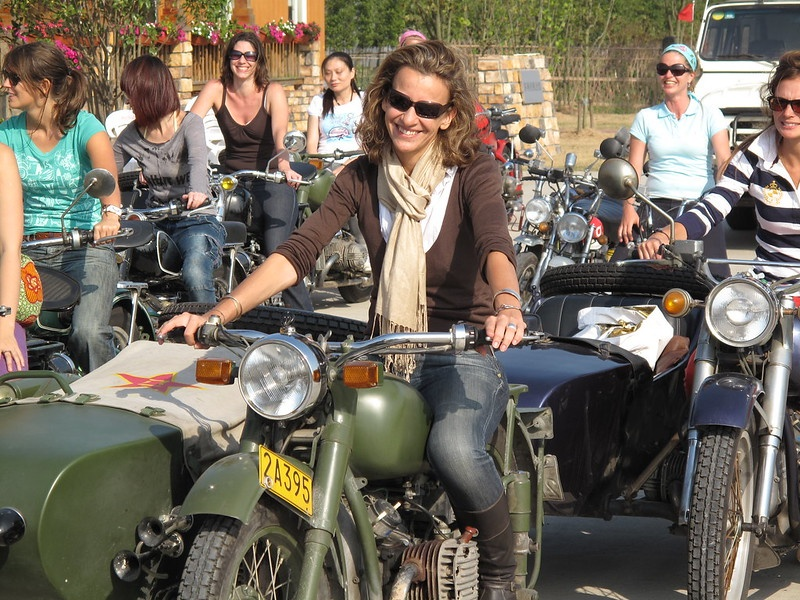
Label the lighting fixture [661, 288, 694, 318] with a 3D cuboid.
[{"bbox_3d":[1.256,0.021,4.030,0.126,0.133,0.203,2,11,10],"label":"lighting fixture"}]

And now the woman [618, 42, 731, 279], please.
[{"bbox_3d":[2.211,-0.793,7.241,0.756,2.677,0.771,1,-8,17],"label":"woman"}]

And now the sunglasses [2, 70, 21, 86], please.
[{"bbox_3d":[-1.994,-1.134,4.563,0.092,0.074,0.025,5,11,24],"label":"sunglasses"}]

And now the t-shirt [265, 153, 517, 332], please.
[{"bbox_3d":[-0.049,-0.197,3.404,0.831,0.678,0.576,0,-2,-23],"label":"t-shirt"}]

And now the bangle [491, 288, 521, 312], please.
[{"bbox_3d":[0.370,0.006,3.077,0.096,0.070,0.166,2,11,6],"label":"bangle"}]

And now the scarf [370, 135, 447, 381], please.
[{"bbox_3d":[0.008,-0.207,3.487,0.216,0.941,0.160,11,35,9],"label":"scarf"}]

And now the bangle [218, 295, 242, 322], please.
[{"bbox_3d":[-0.612,0.027,3.244,0.068,0.092,0.028,-15,3,-37],"label":"bangle"}]

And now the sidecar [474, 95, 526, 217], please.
[{"bbox_3d":[1.401,-2.192,12.869,0.851,1.025,1.473,8,-6,22],"label":"sidecar"}]

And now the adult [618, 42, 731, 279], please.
[{"bbox_3d":[2.154,-0.772,7.178,0.784,2.980,0.836,2,-20,18],"label":"adult"}]

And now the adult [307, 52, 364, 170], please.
[{"bbox_3d":[-0.656,-1.967,9.398,0.648,1.359,0.650,5,-8,-14],"label":"adult"}]
